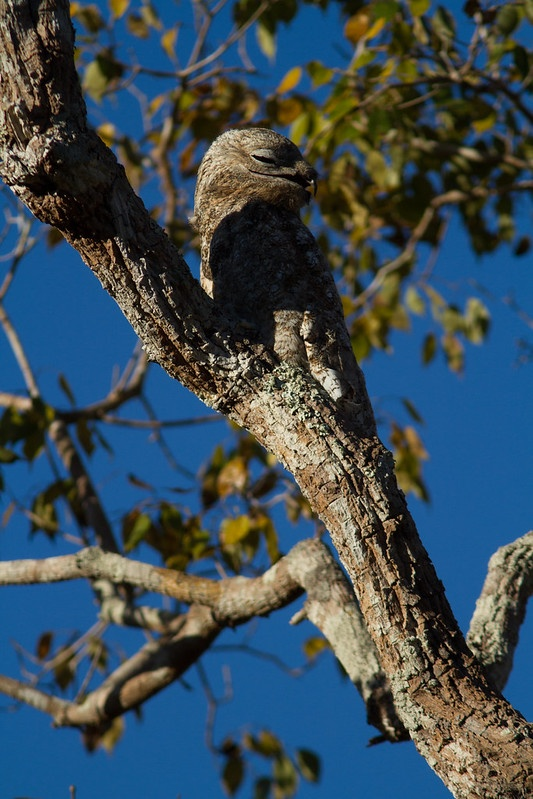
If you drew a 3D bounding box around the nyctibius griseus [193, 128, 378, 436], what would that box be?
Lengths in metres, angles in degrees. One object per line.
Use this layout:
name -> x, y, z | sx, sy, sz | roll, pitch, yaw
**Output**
nyctibius griseus -> 0.020, -0.416, 5.876 | 0.474, 1.154, 0.405 | -10, -11, 5
